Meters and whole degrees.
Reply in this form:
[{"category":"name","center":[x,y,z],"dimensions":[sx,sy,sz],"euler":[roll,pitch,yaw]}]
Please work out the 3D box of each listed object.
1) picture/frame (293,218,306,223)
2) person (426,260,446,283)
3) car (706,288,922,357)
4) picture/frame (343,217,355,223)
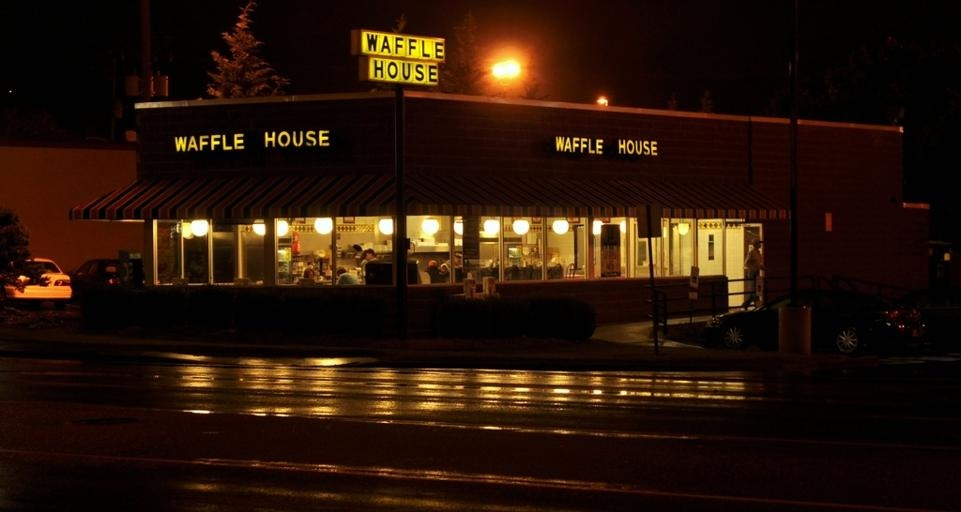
[{"category":"picture/frame","center":[-7.402,-1.471,40.720],"dimensions":[0.384,0.224,0.192],"euler":[0,-2,-1]},{"category":"person","center":[-1.778,0.637,40.772],"dimensions":[1.016,0.859,0.769],"euler":[2,-1,-35]},{"category":"car","center":[12.951,2.397,37.502],"dimensions":[6.502,1.732,2.686],"euler":[1,-2,22]},{"category":"picture/frame","center":[-5.325,-1.482,40.376],"dimensions":[0.535,0.294,0.197],"euler":[-1,10,-6]}]
